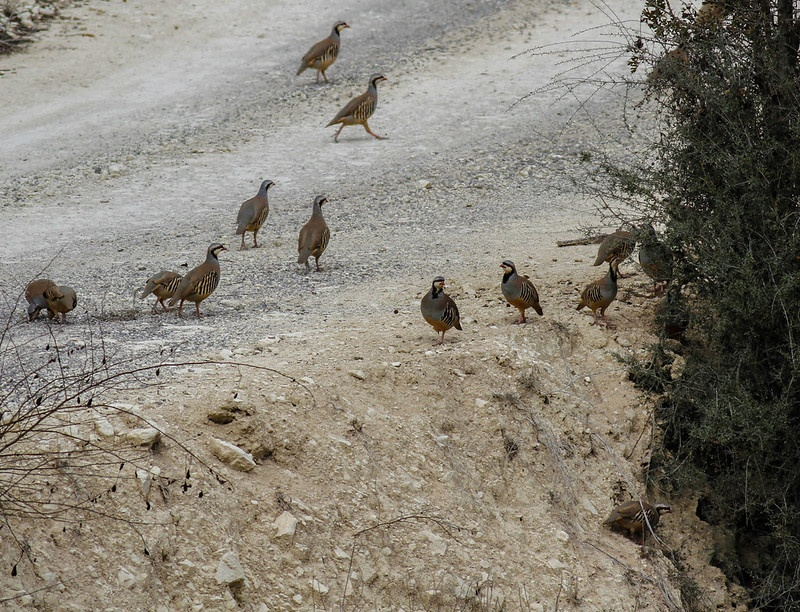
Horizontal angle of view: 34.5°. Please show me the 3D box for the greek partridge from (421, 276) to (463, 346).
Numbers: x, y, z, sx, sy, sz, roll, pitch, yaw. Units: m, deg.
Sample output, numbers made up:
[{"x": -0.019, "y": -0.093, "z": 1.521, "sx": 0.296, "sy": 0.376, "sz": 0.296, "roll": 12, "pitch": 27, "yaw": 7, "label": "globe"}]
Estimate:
[{"x": 0.572, "y": 0.067, "z": 17.802, "sx": 0.474, "sy": 1.162, "sz": 0.500, "roll": -16, "pitch": 37, "yaw": 2, "label": "greek partridge"}]

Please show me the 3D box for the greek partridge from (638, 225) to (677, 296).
[{"x": 3.603, "y": -0.669, "z": 18.074, "sx": 0.370, "sy": 0.924, "sz": 0.658, "roll": -23, "pitch": 37, "yaw": -6, "label": "greek partridge"}]

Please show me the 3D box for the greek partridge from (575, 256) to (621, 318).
[{"x": 2.837, "y": -0.173, "z": 18.545, "sx": 0.704, "sy": 1.030, "sz": 0.500, "roll": 5, "pitch": 42, "yaw": 28, "label": "greek partridge"}]

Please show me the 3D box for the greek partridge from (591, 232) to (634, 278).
[{"x": 3.247, "y": -0.800, "z": 19.278, "sx": 0.832, "sy": 0.643, "sz": 0.451, "roll": 3, "pitch": -3, "yaw": -30, "label": "greek partridge"}]

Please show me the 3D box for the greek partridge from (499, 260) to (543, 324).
[{"x": 1.731, "y": -0.175, "z": 18.268, "sx": 0.466, "sy": 1.107, "sz": 0.450, "roll": -13, "pitch": 37, "yaw": 7, "label": "greek partridge"}]

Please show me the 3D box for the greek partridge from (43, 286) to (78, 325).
[{"x": -4.842, "y": -0.042, "z": 18.480, "sx": 0.473, "sy": 0.587, "sz": 0.357, "roll": -3, "pitch": 39, "yaw": 19, "label": "greek partridge"}]
